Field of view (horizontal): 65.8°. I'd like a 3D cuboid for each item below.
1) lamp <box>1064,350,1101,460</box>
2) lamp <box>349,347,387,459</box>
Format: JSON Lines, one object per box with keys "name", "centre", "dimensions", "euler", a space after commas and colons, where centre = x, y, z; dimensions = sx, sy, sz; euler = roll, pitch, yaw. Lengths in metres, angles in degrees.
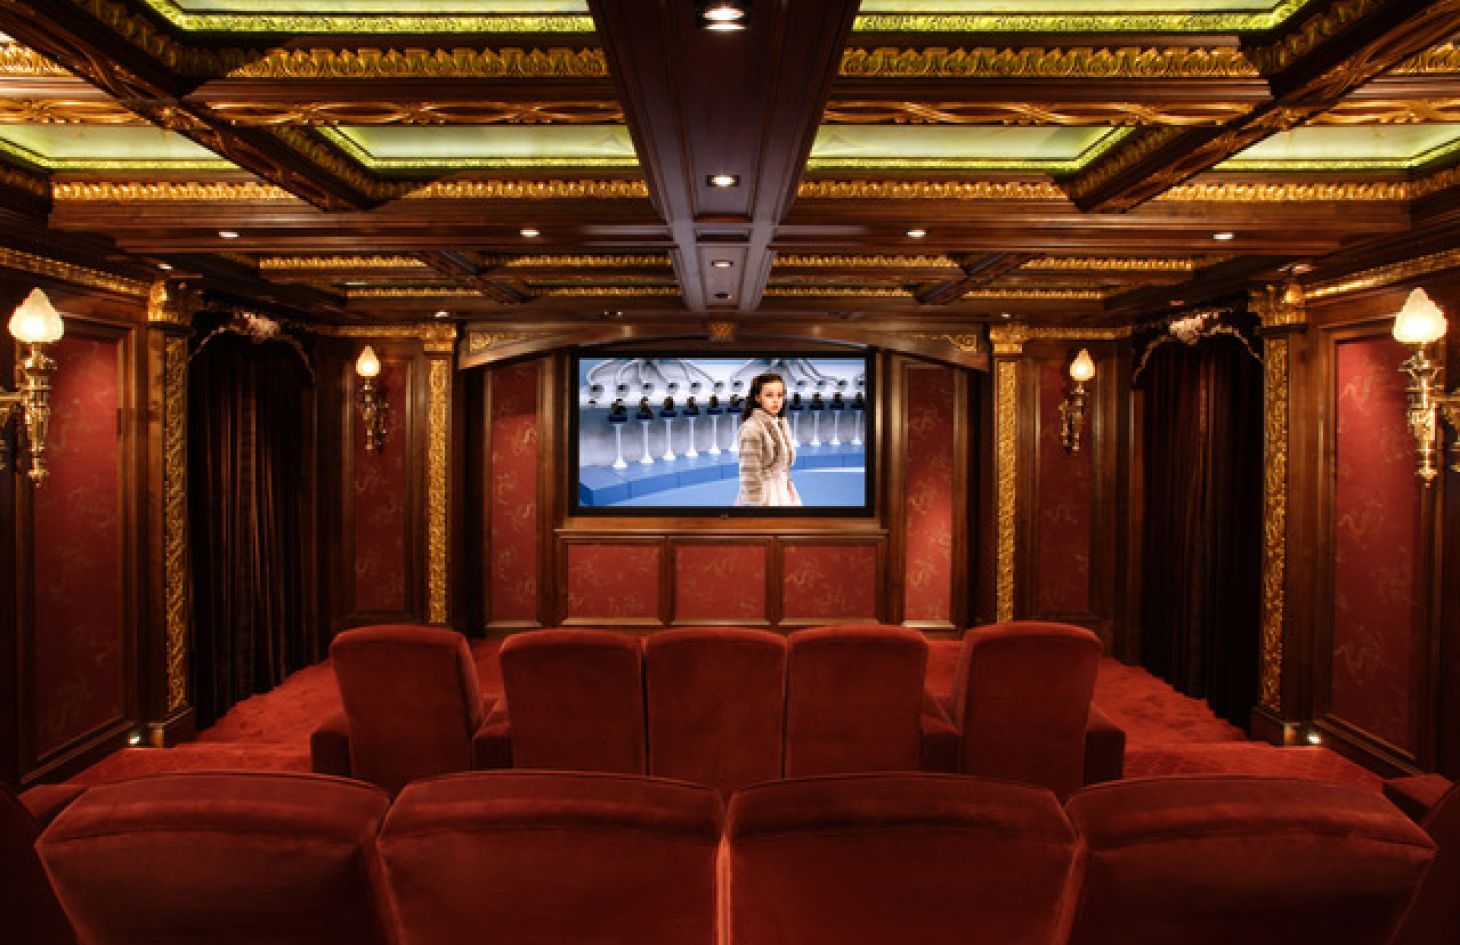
{"name": "lamp", "centre": [2.621, -0.501, 8.328], "dimensions": [0.325, 0.776, 0.243], "euler": [4, 3, 8]}
{"name": "lamp", "centre": [-2.686, -0.563, 8.343], "dimensions": [0.242, 0.818, 1.027], "euler": [0, 0, -18]}
